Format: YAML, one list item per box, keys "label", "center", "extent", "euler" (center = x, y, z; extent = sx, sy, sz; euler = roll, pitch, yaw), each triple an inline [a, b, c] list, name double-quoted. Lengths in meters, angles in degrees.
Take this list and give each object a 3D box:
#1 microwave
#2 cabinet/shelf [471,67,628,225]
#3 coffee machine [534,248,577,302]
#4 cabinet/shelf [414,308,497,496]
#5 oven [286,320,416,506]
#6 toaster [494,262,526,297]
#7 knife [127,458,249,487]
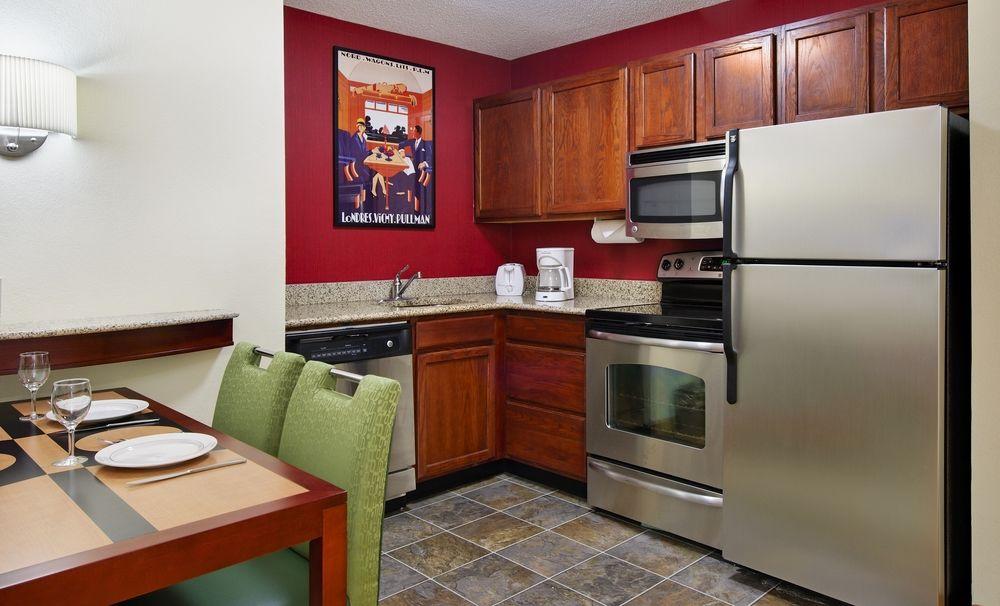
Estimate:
- label: "microwave"
  center: [1.201, -0.680, 3.774]
  extent: [0.514, 0.562, 0.795]
  euler: [-10, 12, -32]
- label: "cabinet/shelf"
  center: [0.459, -1.080, 4.514]
  extent: [1.437, 0.965, 0.517]
  euler: [5, 8, 44]
- label: "coffee machine"
  center: [0.384, -0.203, 4.330]
  extent: [0.260, 0.353, 0.267]
  euler: [0, 13, 3]
- label: "cabinet/shelf"
  center: [-0.276, 0.575, 4.012]
  extent: [0.703, 0.995, 0.185]
  euler: [-11, 16, -39]
- label: "oven"
  center: [-0.960, 0.699, 3.838]
  extent: [0.800, 1.049, 0.759]
  euler: [-5, -4, -28]
- label: "toaster"
  center: [0.076, -0.184, 4.660]
  extent: [0.194, 0.249, 0.263]
  euler: [1, -4, -4]
- label: "knife"
  center: [-1.034, 0.560, 2.024]
  extent: [0.323, 0.023, 0.043]
  euler: [-5, 12, -30]
